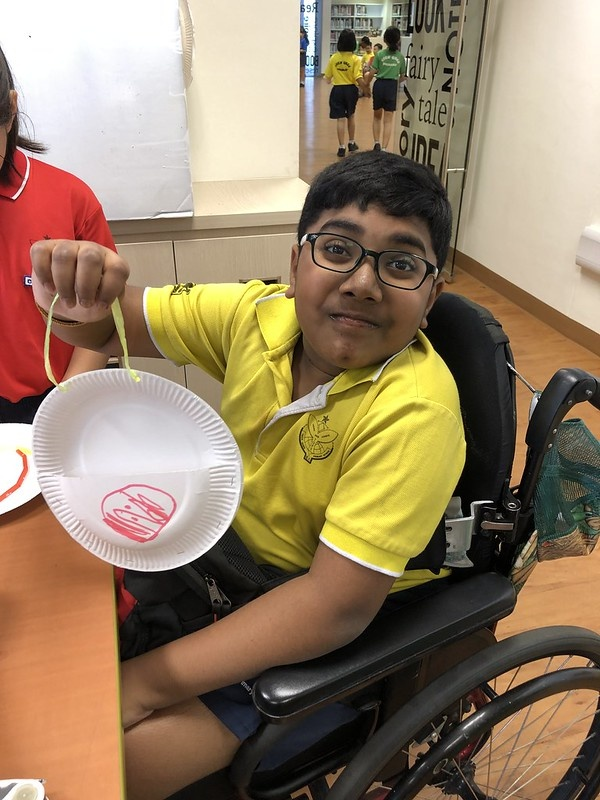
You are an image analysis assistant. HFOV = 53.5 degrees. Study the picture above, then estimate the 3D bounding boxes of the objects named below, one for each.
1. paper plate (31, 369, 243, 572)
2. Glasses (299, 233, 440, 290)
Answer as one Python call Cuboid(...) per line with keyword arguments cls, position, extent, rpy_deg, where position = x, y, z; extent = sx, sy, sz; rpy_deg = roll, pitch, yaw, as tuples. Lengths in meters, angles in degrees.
Cuboid(cls="paper plate", position=(-0.186, 0.073, 0.641), extent=(0.200, 0.040, 0.251), rpy_deg=(-42, 66, -4))
Cuboid(cls="Glasses", position=(0.075, -0.176, 0.750), extent=(0.170, 0.060, 0.069), rpy_deg=(10, 31, 18))
